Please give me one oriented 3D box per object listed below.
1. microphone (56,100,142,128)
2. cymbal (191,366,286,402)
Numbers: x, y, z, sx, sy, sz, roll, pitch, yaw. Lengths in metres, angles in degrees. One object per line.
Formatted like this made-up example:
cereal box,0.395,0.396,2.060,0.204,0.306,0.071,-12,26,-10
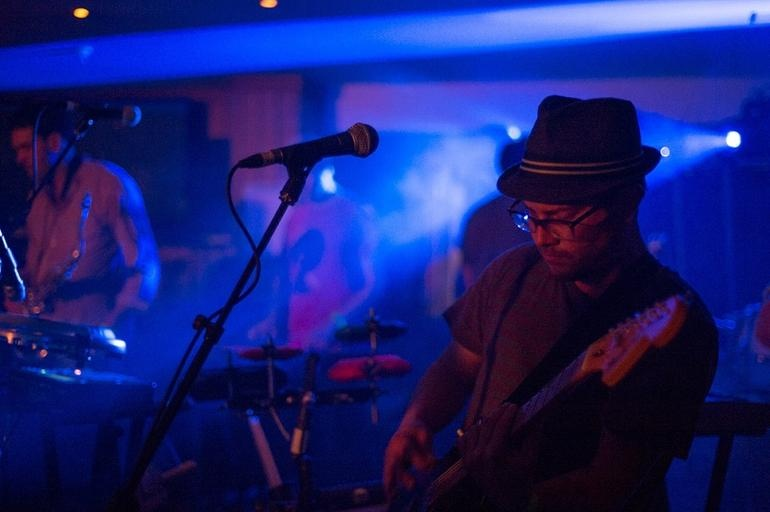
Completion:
microphone,-1.804,-0.904,5.647,0.675,0.177,0.172,4,-2,7
cymbal,-0.920,0.751,5.289,0.475,0.135,0.251,-2,-4,-6
